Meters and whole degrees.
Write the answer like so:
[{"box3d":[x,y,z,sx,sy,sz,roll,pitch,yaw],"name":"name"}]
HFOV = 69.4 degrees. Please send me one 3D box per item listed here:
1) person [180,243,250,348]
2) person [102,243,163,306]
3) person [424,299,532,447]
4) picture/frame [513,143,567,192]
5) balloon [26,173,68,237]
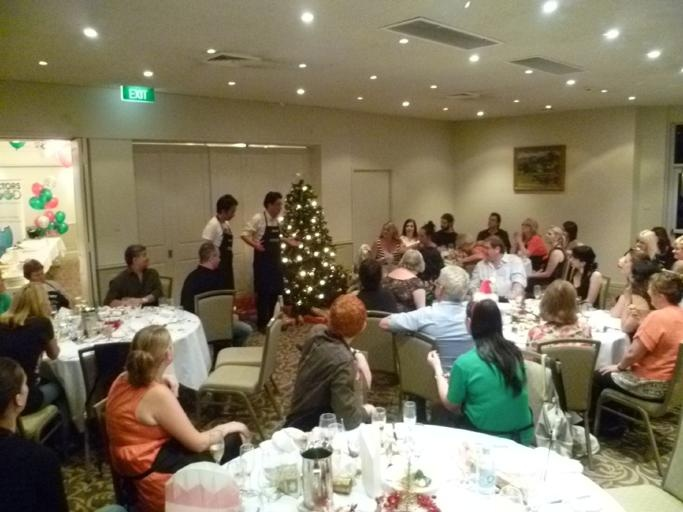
[{"box3d":[-1.498,0.629,6.028,0.904,1.518,0.775,8,5,-8],"name":"person"},{"box3d":[-2.456,0.258,5.744,0.466,0.750,0.692,11,14,43],"name":"person"},{"box3d":[0.947,0.725,3.110,0.522,0.889,0.199,2,7,17],"name":"person"},{"box3d":[4.415,-1.977,10.845,0.073,1.060,1.029,-10,14,-44],"name":"picture/frame"},{"box3d":[-7.626,-1.272,12.656,1.134,1.517,0.923,6,8,39],"name":"balloon"}]
